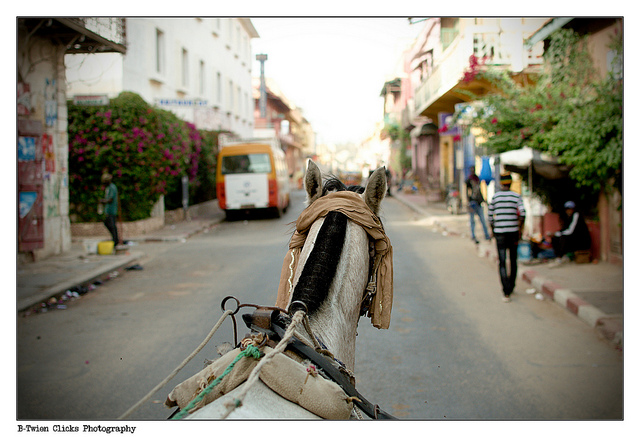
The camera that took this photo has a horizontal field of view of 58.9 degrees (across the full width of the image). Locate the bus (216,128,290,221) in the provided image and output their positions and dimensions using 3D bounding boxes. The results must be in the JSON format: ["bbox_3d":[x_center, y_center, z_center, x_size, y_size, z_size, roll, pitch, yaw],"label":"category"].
[{"bbox_3d":[-3.140,-1.730,25.741,2.479,3.948,7.291,-2,0,0],"label":"bus"}]

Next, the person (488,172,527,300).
[{"bbox_3d":[3.427,0.493,10.517,0.601,1.915,0.730,6,13,31],"label":"person"}]

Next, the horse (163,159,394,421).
[{"bbox_3d":[-0.171,0.690,5.714,1.309,2.416,2.357,10,16,42],"label":"horse"}]

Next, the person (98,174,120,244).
[{"bbox_3d":[-5.483,-0.213,14.920,0.362,1.882,0.583,-5,12,-22],"label":"person"}]

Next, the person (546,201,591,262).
[{"bbox_3d":[5.502,0.272,12.215,0.685,1.305,0.518,1,13,38],"label":"person"}]
